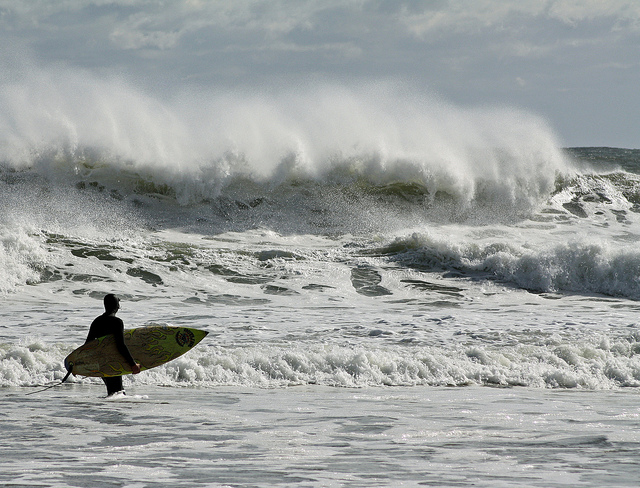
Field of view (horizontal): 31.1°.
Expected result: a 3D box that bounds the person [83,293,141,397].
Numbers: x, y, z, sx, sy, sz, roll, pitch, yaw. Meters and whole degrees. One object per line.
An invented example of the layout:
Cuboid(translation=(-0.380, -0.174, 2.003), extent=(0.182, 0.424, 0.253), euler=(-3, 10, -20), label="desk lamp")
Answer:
Cuboid(translation=(-2.904, 1.435, 16.515), extent=(0.885, 1.470, 0.488), euler=(7, 15, 20), label="person")

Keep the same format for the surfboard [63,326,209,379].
Cuboid(translation=(-2.653, 1.527, 17.070), extent=(2.457, 0.625, 0.317), euler=(-10, 0, -39), label="surfboard")
